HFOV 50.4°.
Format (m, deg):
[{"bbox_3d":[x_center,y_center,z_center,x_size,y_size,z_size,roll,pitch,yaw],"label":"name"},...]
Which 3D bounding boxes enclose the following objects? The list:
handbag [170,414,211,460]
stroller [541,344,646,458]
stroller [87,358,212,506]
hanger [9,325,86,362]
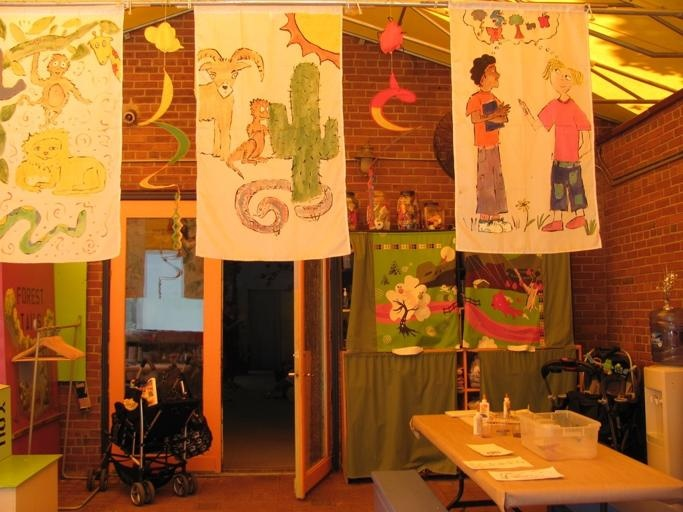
[{"bbox_3d":[-1.477,1.766,7.201,0.313,0.182,0.440,-22,-32,-13],"label":"handbag"},{"bbox_3d":[2.500,1.476,7.146,0.900,1.193,0.990,-2,-3,5],"label":"stroller"},{"bbox_3d":[-1.919,1.770,7.319,1.171,1.139,0.797,1,2,43],"label":"stroller"},{"bbox_3d":[-2.864,0.920,7.178,0.387,0.310,0.572,3,-5,-1],"label":"hanger"}]
